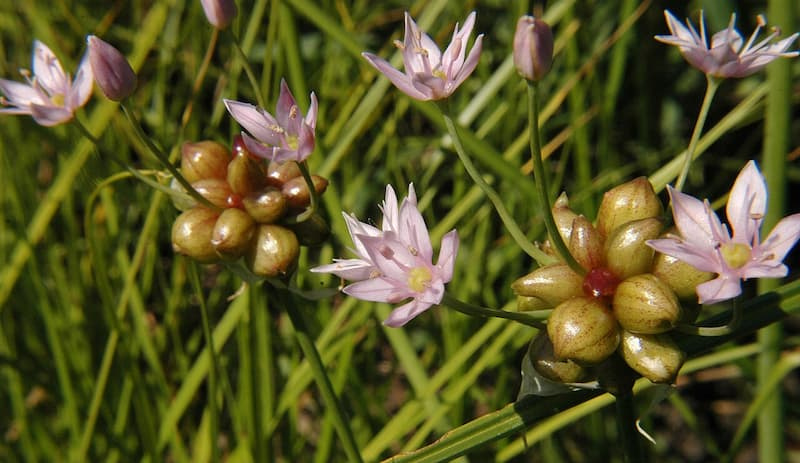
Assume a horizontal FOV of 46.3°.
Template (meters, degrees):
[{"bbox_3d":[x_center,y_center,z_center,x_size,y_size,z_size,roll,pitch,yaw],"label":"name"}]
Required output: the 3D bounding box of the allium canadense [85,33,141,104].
[{"bbox_3d":[-1.097,-0.621,3.549,0.149,0.310,0.108,-17,51,0],"label":"allium canadense"}]

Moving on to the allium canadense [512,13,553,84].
[{"bbox_3d":[0.490,-0.678,3.472,0.125,0.288,0.200,-13,48,-2],"label":"allium canadense"}]
